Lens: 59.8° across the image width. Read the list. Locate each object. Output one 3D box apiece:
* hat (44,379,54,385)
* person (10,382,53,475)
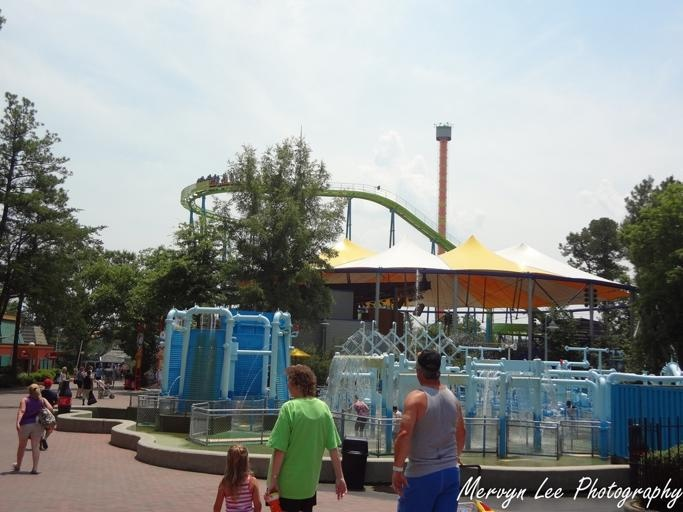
[{"bbox_3d":[-7.931,3.398,16.042,0.217,0.207,0.350,6,-5,-18],"label":"hat"},{"bbox_3d":[-6.891,3.781,13.174,0.739,1.879,0.689,3,-13,-20],"label":"person"}]
